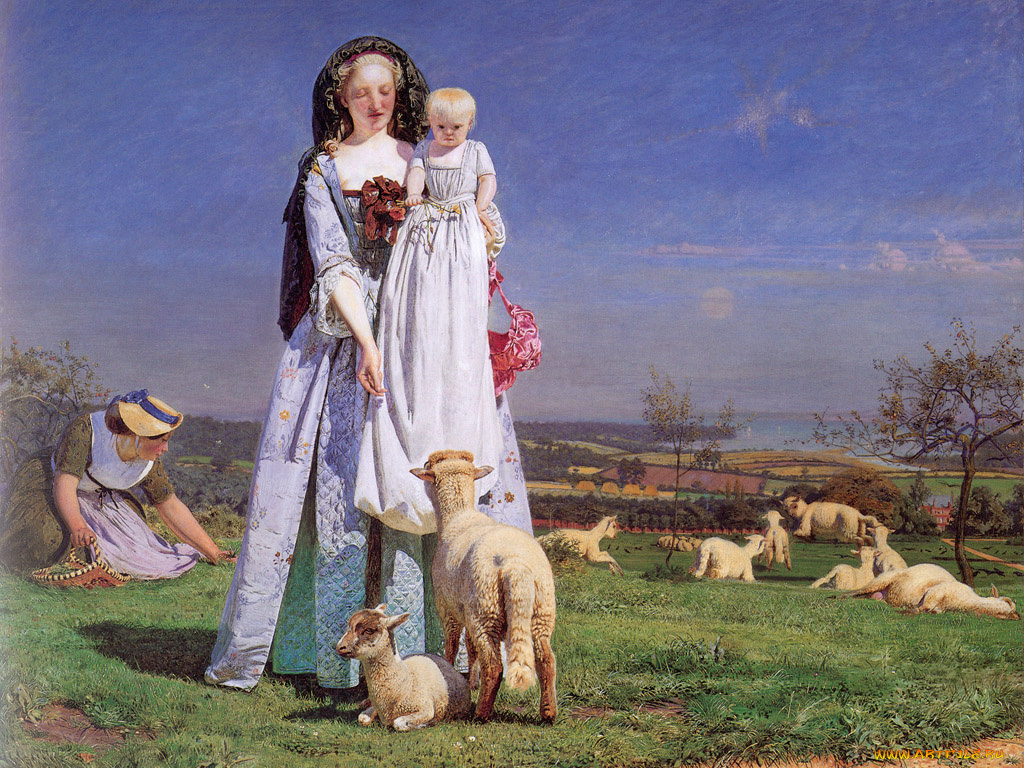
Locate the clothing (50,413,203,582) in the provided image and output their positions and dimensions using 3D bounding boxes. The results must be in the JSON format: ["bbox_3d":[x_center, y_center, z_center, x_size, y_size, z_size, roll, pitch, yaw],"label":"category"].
[{"bbox_3d":[-3.508,1.057,8.569,1.229,1.160,1.037,28,35,10],"label":"clothing"}]

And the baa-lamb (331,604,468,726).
[{"bbox_3d":[-0.624,1.673,5.534,0.505,0.651,0.928,-6,-15,40],"label":"baa-lamb"}]

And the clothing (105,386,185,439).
[{"bbox_3d":[-3.294,0.294,8.324,0.721,0.258,0.658,3,15,-37],"label":"clothing"}]

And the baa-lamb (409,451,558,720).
[{"bbox_3d":[-0.108,1.171,5.443,0.799,1.534,0.494,-1,-6,42],"label":"baa-lamb"}]
